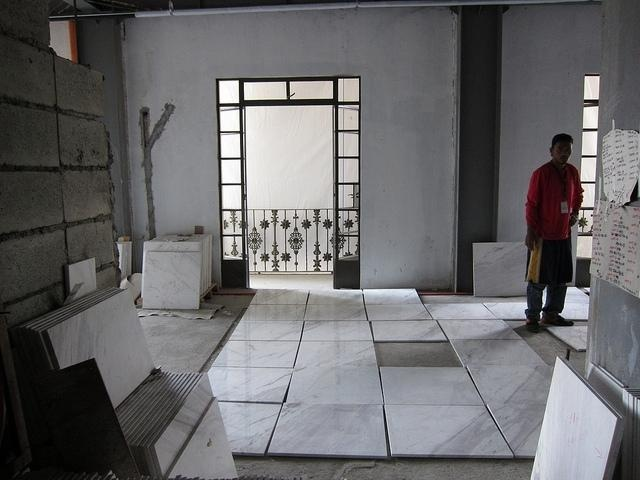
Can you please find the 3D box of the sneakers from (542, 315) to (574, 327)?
[{"bbox_3d":[2.514,0.858,4.814,0.333,0.154,0.127,-2,6,9],"label":"sneakers"}]

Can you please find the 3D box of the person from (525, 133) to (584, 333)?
[{"bbox_3d":[2.398,-0.065,4.621,0.615,1.929,0.256,-4,12,-16],"label":"person"}]
